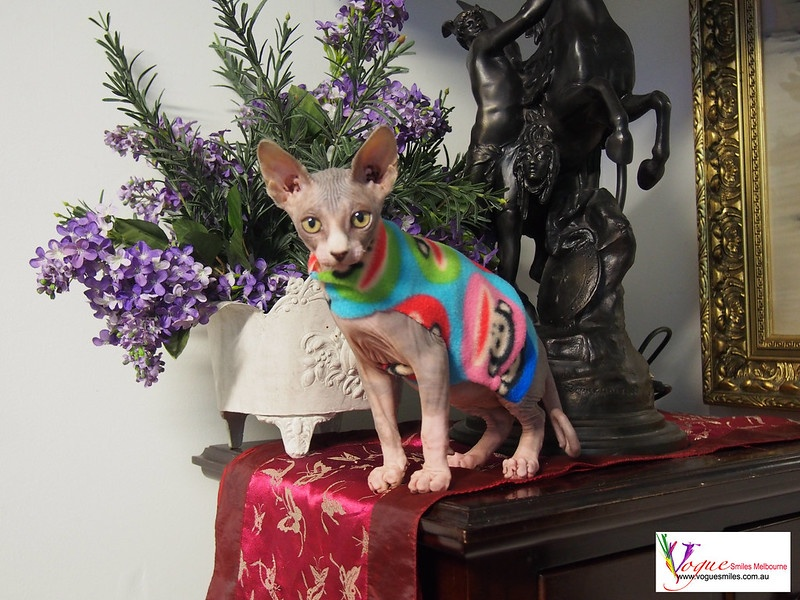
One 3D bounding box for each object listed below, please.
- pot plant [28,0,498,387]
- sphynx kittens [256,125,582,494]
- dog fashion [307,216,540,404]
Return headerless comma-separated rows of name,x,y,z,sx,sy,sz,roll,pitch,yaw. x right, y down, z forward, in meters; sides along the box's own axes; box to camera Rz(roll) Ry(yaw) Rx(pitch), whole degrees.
pot plant,-0.253,-0.153,1.442,0.662,0.614,0.365,-19,-8,-22
sphynx kittens,0.057,0.020,1.067,0.430,0.448,0.176,-5,3,-32
dog fashion,0.013,0.001,1.104,0.381,0.161,0.253,23,-6,-37
